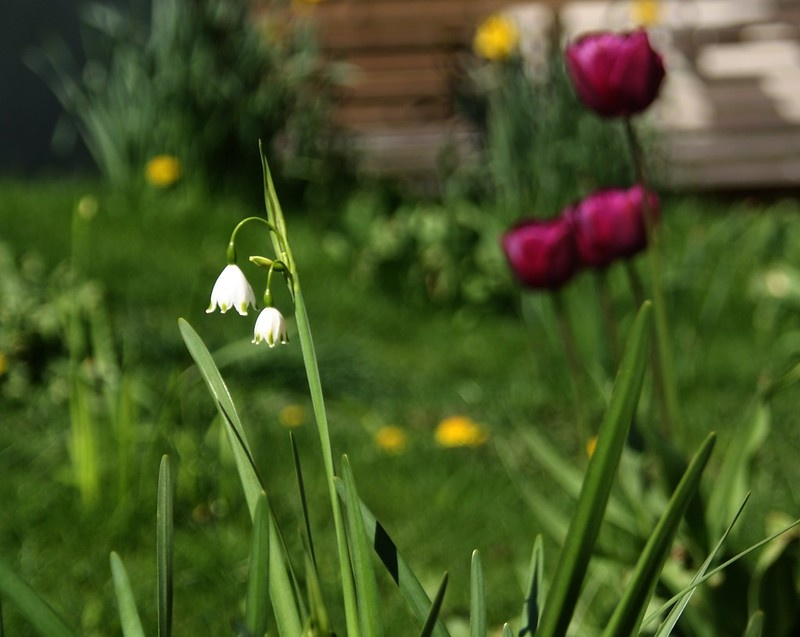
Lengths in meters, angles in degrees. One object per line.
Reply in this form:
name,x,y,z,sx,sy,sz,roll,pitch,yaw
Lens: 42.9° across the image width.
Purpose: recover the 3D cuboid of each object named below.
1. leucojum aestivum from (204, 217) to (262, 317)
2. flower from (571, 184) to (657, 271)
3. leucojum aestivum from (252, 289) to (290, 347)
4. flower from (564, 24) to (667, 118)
leucojum aestivum,-0.269,-0.092,1.702,0.102,0.082,0.184,1,78,-16
flower,0.377,-0.169,1.723,0.154,0.105,0.151,-18,10,-38
leucojum aestivum,-0.215,-0.002,1.663,0.058,0.052,0.095,-1,83,-5
flower,0.370,-0.428,1.695,0.153,0.167,0.169,-1,24,-5
